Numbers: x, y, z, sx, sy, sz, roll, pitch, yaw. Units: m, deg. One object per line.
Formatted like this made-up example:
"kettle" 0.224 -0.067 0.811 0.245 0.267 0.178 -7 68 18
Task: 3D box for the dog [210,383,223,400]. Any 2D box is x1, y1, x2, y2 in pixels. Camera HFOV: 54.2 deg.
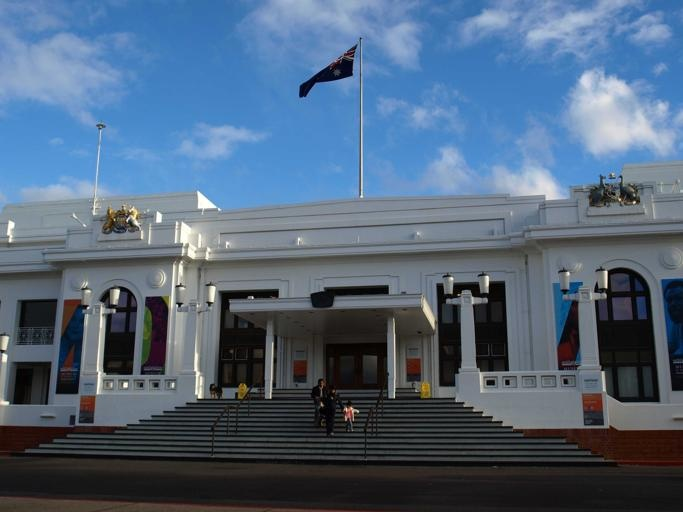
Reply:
"dog" -6.153 6.600 32.904 0.646 0.732 2.141 2 -13 -11

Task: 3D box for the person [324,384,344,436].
"person" -0.350 5.645 24.307 0.497 1.769 0.542 4 -14 -19
